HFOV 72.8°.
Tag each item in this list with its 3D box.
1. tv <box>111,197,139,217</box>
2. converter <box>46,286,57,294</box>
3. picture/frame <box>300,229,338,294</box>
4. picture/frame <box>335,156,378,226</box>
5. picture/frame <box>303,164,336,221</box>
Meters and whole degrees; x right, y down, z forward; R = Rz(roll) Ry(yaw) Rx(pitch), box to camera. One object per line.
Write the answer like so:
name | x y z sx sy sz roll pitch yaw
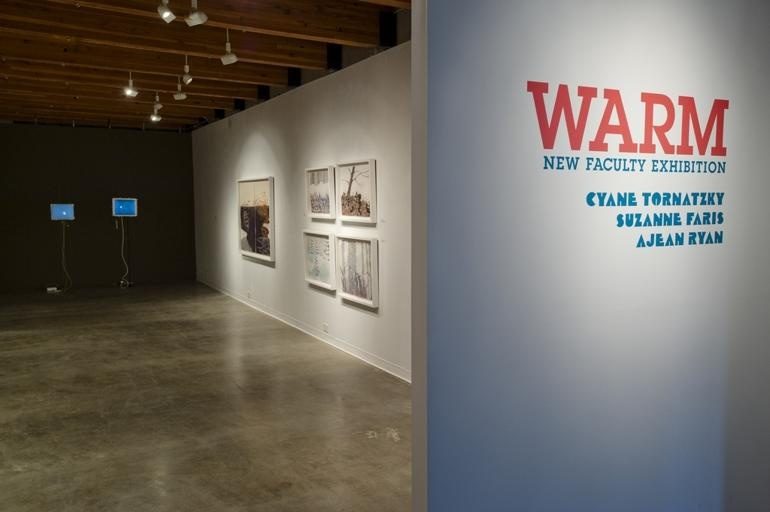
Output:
tv | -6.639 -1.180 13.426 0.760 0.738 0.425 -1 1 -30
converter | -8.079 0.847 12.653 0.287 0.109 0.169 -1 8 -22
picture/frame | -1.001 0.077 8.016 0.106 0.909 1.012 1 1 -29
picture/frame | -0.440 -0.882 7.154 0.094 0.820 0.827 -3 6 -37
picture/frame | -0.946 -0.944 7.964 0.105 0.742 0.757 2 7 34
